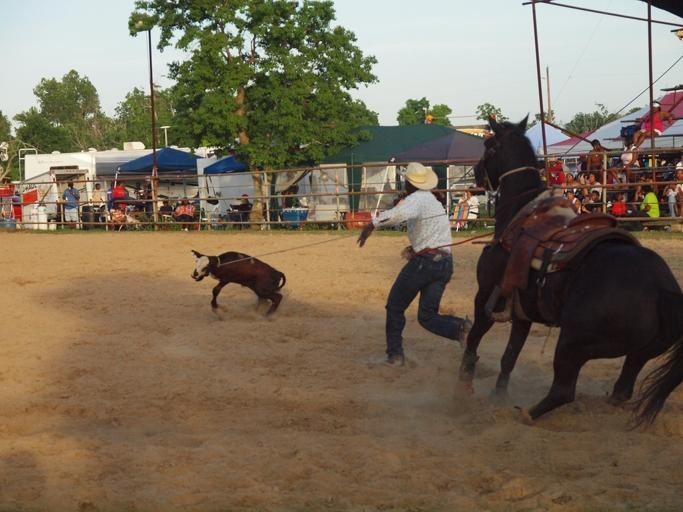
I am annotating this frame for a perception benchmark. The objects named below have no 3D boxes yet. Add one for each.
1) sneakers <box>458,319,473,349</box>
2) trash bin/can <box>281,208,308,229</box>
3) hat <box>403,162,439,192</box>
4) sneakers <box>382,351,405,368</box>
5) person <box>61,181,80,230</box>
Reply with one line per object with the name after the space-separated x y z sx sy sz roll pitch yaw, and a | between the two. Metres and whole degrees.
1.231 0.778 8.946 0.113 0.276 0.134 4 -12 6 | sneakers
-1.194 -0.940 21.443 0.764 0.426 0.522 0 2 10 | trash bin/can
0.799 -0.846 9.238 0.337 0.119 0.326 -23 52 -22 | hat
0.556 1.107 9.463 0.229 0.176 0.127 -1 -2 14 | sneakers
-7.198 -1.337 23.408 0.442 1.305 1.579 -3 13 -17 | person
